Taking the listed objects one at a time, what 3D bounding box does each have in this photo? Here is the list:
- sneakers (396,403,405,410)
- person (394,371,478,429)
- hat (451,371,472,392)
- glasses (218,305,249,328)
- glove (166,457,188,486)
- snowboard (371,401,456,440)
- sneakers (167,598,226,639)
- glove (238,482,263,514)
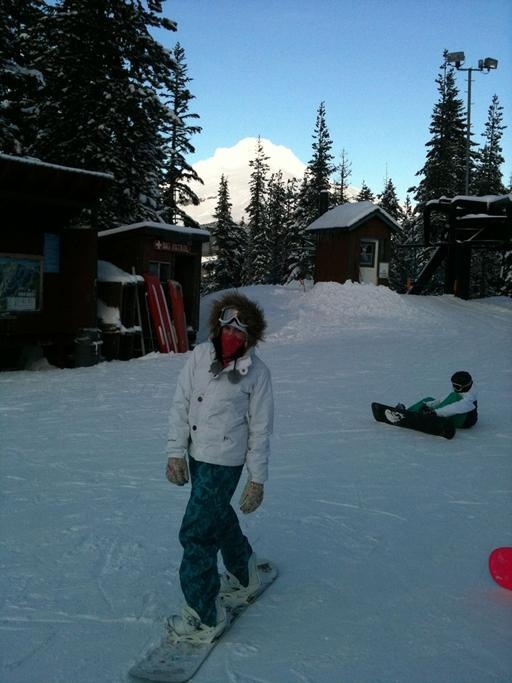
[{"bbox_3d":[2.204,0.993,8.814,0.098,0.045,0.128,4,7,11],"label":"sneakers"},{"bbox_3d":[2.765,0.880,8.706,1.216,0.827,0.759,1,5,-6],"label":"person"},{"bbox_3d":[3.035,0.595,8.569,0.273,0.290,0.352,-1,4,23],"label":"hat"},{"bbox_3d":[-0.139,-0.130,3.277,0.112,0.134,0.062,12,49,28],"label":"glasses"},{"bbox_3d":[-0.434,0.733,3.223,0.118,0.197,0.196,1,4,-6],"label":"glove"},{"bbox_3d":[2.334,1.132,8.675,1.365,0.420,0.198,10,27,42],"label":"snowboard"},{"bbox_3d":[-0.335,1.534,3.137,0.347,0.189,0.189,6,6,-2],"label":"sneakers"},{"bbox_3d":[-0.031,0.877,3.264,0.117,0.224,0.243,1,4,-2],"label":"glove"}]
